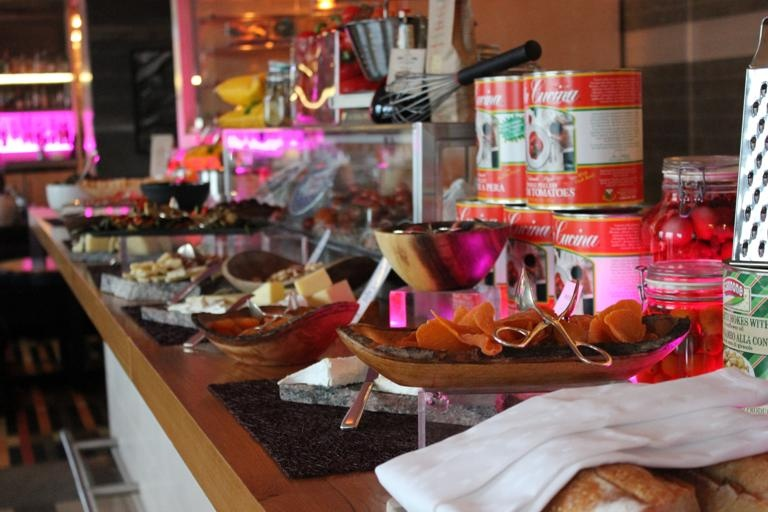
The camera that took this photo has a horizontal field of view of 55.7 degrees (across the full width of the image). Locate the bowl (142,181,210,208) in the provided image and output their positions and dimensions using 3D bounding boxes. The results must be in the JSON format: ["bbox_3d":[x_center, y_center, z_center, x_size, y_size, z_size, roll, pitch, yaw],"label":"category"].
[{"bbox_3d":[-0.567,-0.170,2.001,0.111,0.048,0.110,1,4,0],"label":"bowl"}]

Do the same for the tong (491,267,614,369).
[{"bbox_3d":[0.178,0.078,0.802,0.106,0.033,0.111,-23,42,-33],"label":"tong"}]

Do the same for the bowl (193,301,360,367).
[{"bbox_3d":[-0.164,0.113,1.051,0.158,0.053,0.128,-2,-4,17],"label":"bowl"}]

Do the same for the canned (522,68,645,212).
[{"bbox_3d":[0.281,-0.153,1.052,0.199,0.208,0.191,-4,6,-25],"label":"canned"}]

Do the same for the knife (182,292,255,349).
[{"bbox_3d":[-0.257,0.104,1.138,0.022,0.013,0.157,12,29,24],"label":"knife"}]

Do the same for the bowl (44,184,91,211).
[{"bbox_3d":[-1.214,-0.231,2.821,0.205,0.117,0.193,1,6,0],"label":"bowl"}]

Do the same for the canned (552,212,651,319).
[{"bbox_3d":[0.283,0.010,1.041,0.134,0.141,0.130,-3,3,-1],"label":"canned"}]
